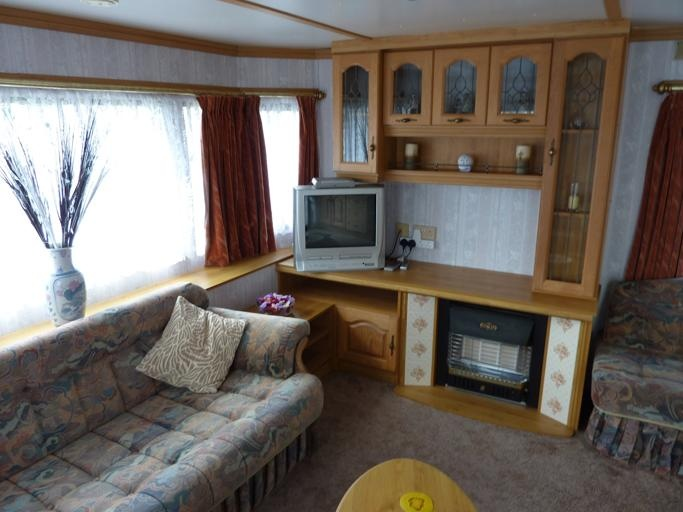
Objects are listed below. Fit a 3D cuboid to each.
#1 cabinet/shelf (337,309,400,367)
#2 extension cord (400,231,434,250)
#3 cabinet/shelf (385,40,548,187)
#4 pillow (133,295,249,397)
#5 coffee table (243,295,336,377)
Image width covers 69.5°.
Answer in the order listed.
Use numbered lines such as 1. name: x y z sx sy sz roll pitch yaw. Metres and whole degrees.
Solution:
1. cabinet/shelf: 0.238 0.637 3.941 0.401 0.397 0.212 5 13 26
2. extension cord: 0.668 -0.148 4.253 0.299 0.167 0.021 8 15 28
3. cabinet/shelf: 0.941 -1.061 3.572 0.915 0.825 0.319 7 18 27
4. pillow: -0.952 0.592 3.250 0.174 0.712 0.683 -24 -31 19
5. coffee table: -0.330 0.701 3.919 0.378 0.567 0.564 1 6 22
